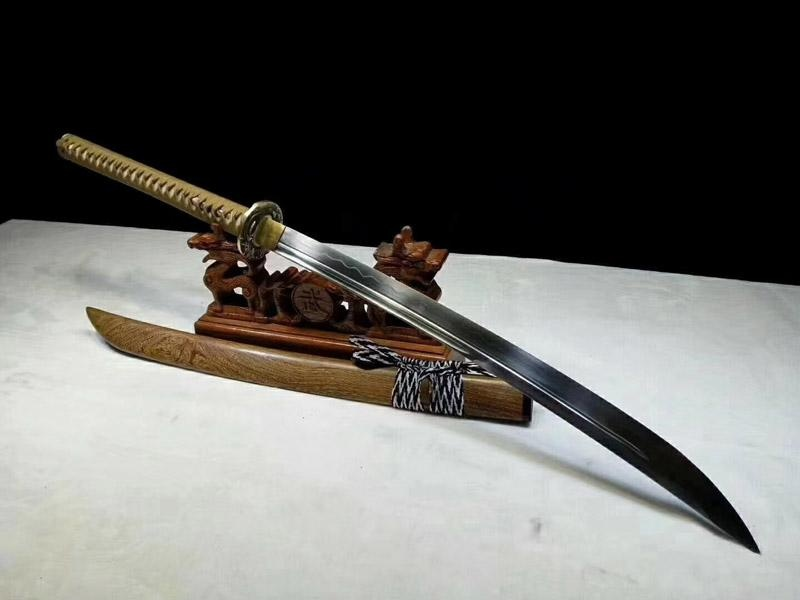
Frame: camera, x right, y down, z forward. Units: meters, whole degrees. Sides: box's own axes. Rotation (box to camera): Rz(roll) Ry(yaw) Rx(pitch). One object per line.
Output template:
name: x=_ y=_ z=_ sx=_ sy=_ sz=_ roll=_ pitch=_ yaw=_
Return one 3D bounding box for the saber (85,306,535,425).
saber: x=-0.355 y=0.272 z=2.959 sx=1.453 sy=0.147 sz=0.183 roll=10 pitch=-1 yaw=9
